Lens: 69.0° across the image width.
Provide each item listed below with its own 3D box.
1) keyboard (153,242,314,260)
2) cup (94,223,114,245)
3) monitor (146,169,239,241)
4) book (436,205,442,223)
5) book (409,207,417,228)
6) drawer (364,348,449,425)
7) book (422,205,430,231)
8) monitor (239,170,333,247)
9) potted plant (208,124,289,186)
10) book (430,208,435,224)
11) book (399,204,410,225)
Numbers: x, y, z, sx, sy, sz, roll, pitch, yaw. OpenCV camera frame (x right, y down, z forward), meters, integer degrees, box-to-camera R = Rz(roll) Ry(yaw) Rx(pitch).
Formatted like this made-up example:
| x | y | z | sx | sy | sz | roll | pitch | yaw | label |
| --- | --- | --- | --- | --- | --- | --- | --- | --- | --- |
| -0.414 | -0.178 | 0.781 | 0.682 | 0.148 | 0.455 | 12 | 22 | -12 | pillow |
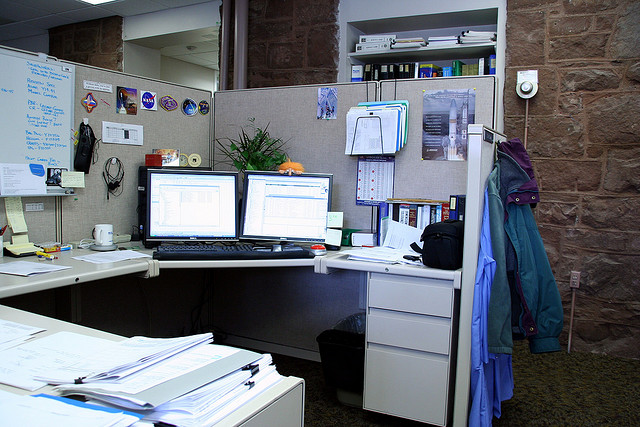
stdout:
| x | y | z | sx | sy | sz | roll | pitch | yaw | label |
| --- | --- | --- | --- | --- | --- | --- | --- | --- | --- |
| -0.495 | 0.204 | 2.675 | 0.882 | 0.064 | 0.399 | 0 | 12 | -10 | keyboard |
| -1.231 | 0.124 | 2.695 | 0.086 | 0.109 | 0.129 | -1 | 2 | 4 | cup |
| -0.787 | -0.044 | 2.771 | 0.480 | 0.330 | 0.050 | 0 | -3 | -9 | monitor |
| 0.709 | 0.000 | 2.754 | 0.033 | 0.094 | 0.041 | 3 | 13 | 0 | book |
| 0.565 | 0.022 | 2.804 | 0.073 | 0.110 | 0.124 | 3 | 2 | 11 | book |
| 0.474 | 0.868 | 2.474 | 0.380 | 0.259 | 0.368 | 1 | -4 | 31 | drawer |
| 0.636 | 0.019 | 2.779 | 0.046 | 0.136 | 0.026 | 6 | 13 | 12 | book |
| -0.246 | -0.006 | 2.920 | 0.609 | 0.459 | 0.210 | 4 | -3 | -27 | monitor |
| -0.413 | -0.352 | 3.135 | 0.606 | 0.285 | 0.511 | 7 | 0 | 42 | potted plant |
| 0.673 | 0.014 | 2.767 | 0.024 | 0.083 | 0.032 | 2 | 13 | -3 | book |
| 0.515 | 0.004 | 2.820 | 0.026 | 0.099 | 0.104 | 1 | -1 | -12 | book |
